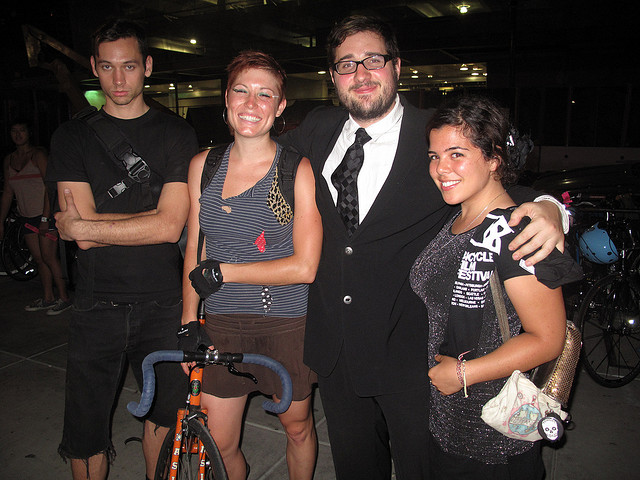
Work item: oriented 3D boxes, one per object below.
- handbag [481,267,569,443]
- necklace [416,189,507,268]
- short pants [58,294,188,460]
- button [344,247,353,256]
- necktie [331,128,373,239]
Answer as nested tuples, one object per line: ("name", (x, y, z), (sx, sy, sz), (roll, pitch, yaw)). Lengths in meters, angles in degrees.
("handbag", (0.928, 0.523, 2.184), (0.158, 0.772, 0.396), (-7, 6, -29))
("necklace", (0.721, -0.037, 2.497), (0.031, 0.662, 0.183), (29, 4, -44))
("short pants", (-1.325, 0.881, 3.265), (0.775, 1.040, 0.262), (-4, 14, -22))
("button", (0.158, 0.066, 2.766), (0.048, 0.046, 0.013), (4, 13, 14))
("necktie", (0.181, -0.357, 2.858), (0.189, 0.596, 0.198), (1, 8, -32))
